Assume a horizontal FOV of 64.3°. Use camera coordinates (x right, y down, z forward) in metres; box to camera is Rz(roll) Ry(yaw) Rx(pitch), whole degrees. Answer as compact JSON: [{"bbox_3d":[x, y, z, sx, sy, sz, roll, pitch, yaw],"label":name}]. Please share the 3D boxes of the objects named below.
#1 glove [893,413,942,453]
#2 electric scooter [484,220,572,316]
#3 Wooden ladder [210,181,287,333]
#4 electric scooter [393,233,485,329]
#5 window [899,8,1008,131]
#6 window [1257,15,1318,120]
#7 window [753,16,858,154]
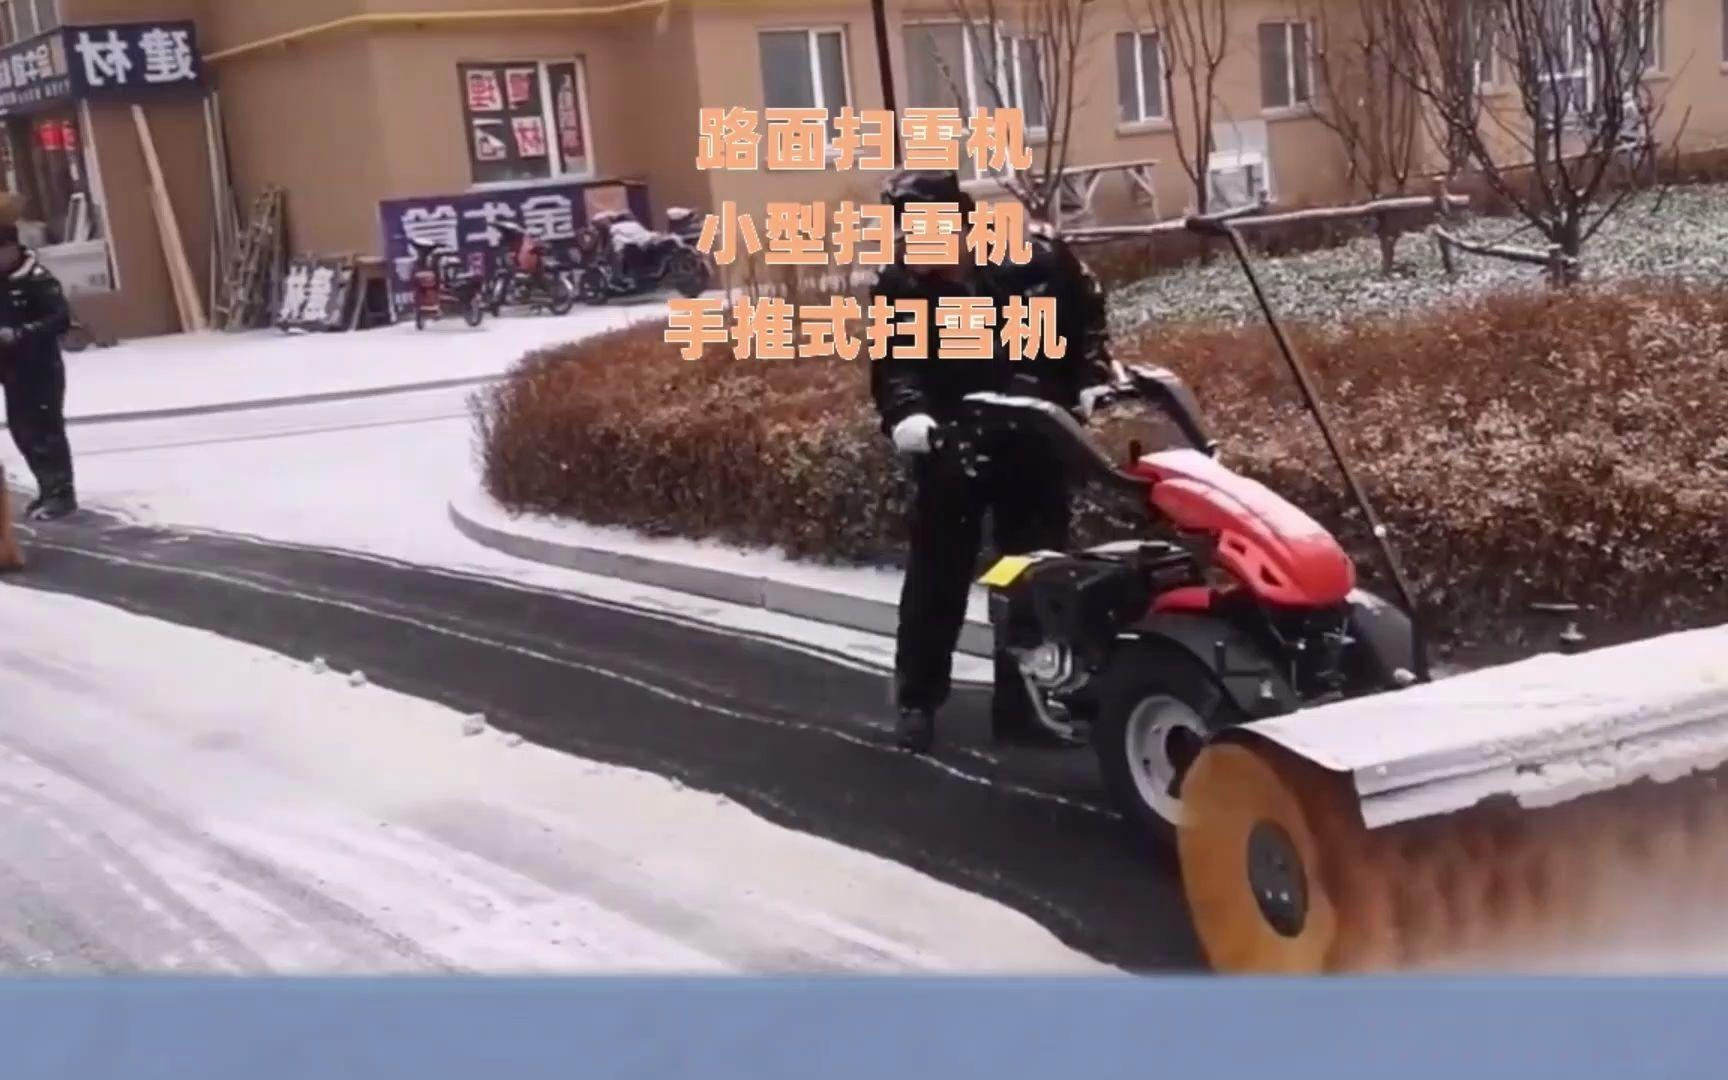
[{"bbox_3d":[0.155,-0.311,4.051,0.113,0.083,0.115,-2,12,32],"label":"glove"},{"bbox_3d":[-0.990,-0.788,4.025,0.313,0.204,0.185,-1,16,4],"label":"electric scooter"},{"bbox_3d":[-1.851,-0.869,4.135,0.164,0.481,0.170,34,33,21],"label":"Wooden ladder"},{"bbox_3d":[-1.238,-0.770,4.080,0.148,0.197,0.330,4,12,24],"label":"electric scooter"},{"bbox_3d":[0.245,-1.363,3.972,0.352,0.342,0.087,0,4,-10],"label":"window"},{"bbox_3d":[1.249,-1.392,4.054,0.220,0.223,0.055,-3,4,-4],"label":"window"},{"bbox_3d":[-0.171,-1.341,3.945,0.246,0.234,0.036,-6,12,-5],"label":"window"}]
